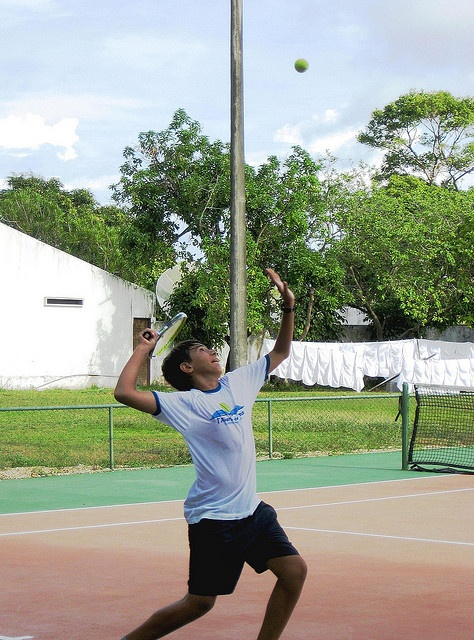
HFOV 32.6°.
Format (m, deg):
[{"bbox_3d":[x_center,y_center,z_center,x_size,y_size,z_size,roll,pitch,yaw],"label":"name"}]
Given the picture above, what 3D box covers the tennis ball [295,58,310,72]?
[{"bbox_3d":[0.980,-3.936,12.548,0.180,0.205,0.115,-2,-2,14],"label":"tennis ball"}]
